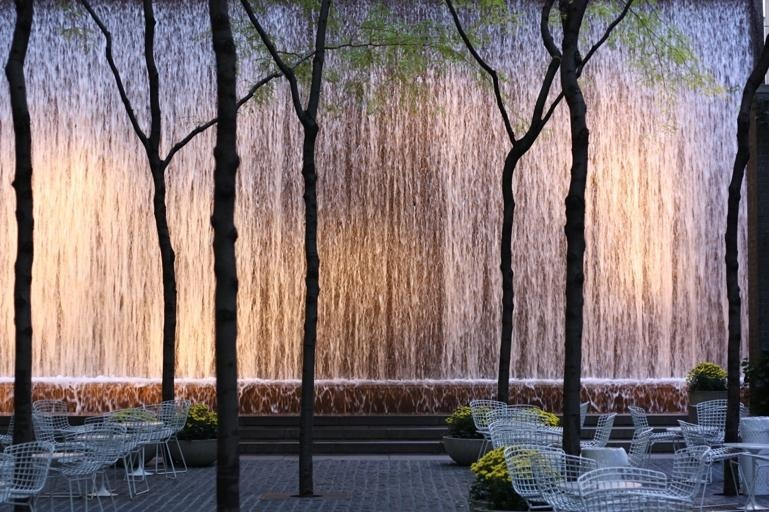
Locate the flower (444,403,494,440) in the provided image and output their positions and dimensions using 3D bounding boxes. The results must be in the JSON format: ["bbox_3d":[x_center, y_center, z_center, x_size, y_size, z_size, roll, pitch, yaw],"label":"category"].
[{"bbox_3d":[1.953,3.912,28.720,0.768,0.777,0.725,-3,1,-17],"label":"flower"}]

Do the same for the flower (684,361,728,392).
[{"bbox_3d":[8.473,3.143,31.846,0.767,0.715,0.766,0,-2,-43],"label":"flower"}]

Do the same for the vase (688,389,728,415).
[{"bbox_3d":[8.289,3.792,31.652,0.727,0.596,0.803,4,-10,-18],"label":"vase"}]
